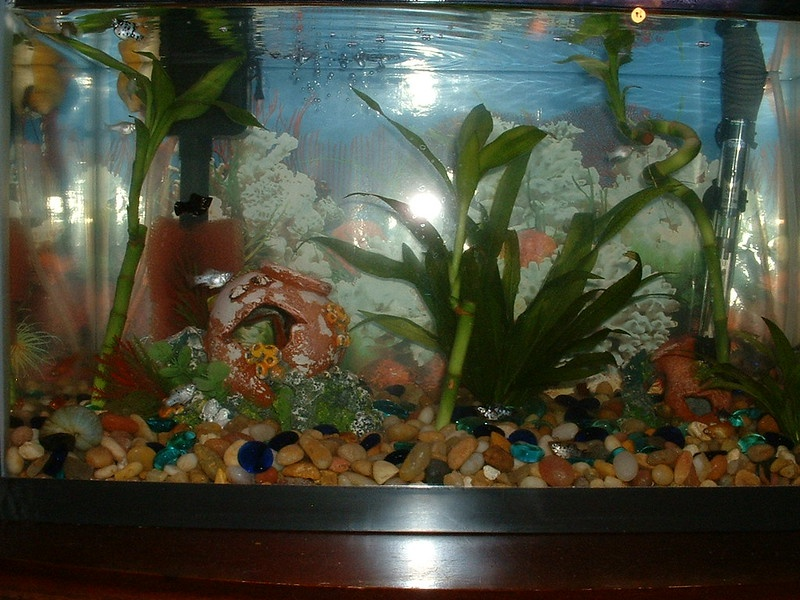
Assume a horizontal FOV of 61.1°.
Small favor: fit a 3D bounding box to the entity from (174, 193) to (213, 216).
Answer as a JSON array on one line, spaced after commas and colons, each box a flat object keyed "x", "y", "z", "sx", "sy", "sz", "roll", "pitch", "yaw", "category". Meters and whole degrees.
[{"x": -0.644, "y": -0.296, "z": 2.140, "sx": 0.108, "sy": 0.063, "sz": 0.047, "roll": -4, "pitch": -8, "yaw": -7, "category": "entity"}]
